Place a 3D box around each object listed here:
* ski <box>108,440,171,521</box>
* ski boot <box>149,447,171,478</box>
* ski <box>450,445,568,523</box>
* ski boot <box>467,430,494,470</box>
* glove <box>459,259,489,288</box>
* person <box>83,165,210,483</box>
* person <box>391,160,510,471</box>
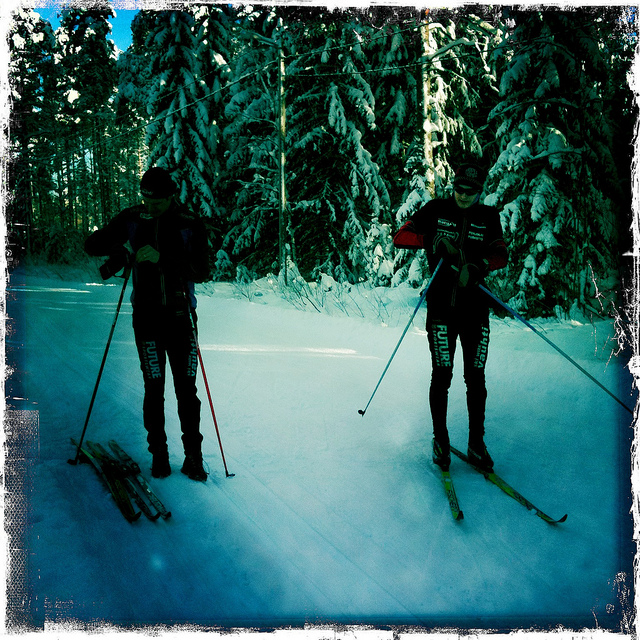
[{"bbox_3d":[-1.477,1.324,5.391,0.088,0.103,0.841,3,29,-35],"label":"ski"},{"bbox_3d":[-1.352,1.203,5.616,0.176,0.362,0.185,1,-8,-15],"label":"ski boot"},{"bbox_3d":[1.617,1.422,5.658,0.077,0.125,0.814,-2,30,-31],"label":"ski"},{"bbox_3d":[1.445,1.148,5.896,0.254,0.329,0.100,6,2,40],"label":"ski boot"},{"bbox_3d":[1.358,-0.422,5.887,0.375,0.142,0.156,-47,18,-28],"label":"glove"},{"bbox_3d":[-1.392,0.023,5.647,0.855,2.549,0.786,0,13,-5],"label":"person"},{"bbox_3d":[1.204,-0.057,5.938,0.857,2.607,0.804,5,14,17],"label":"person"}]
